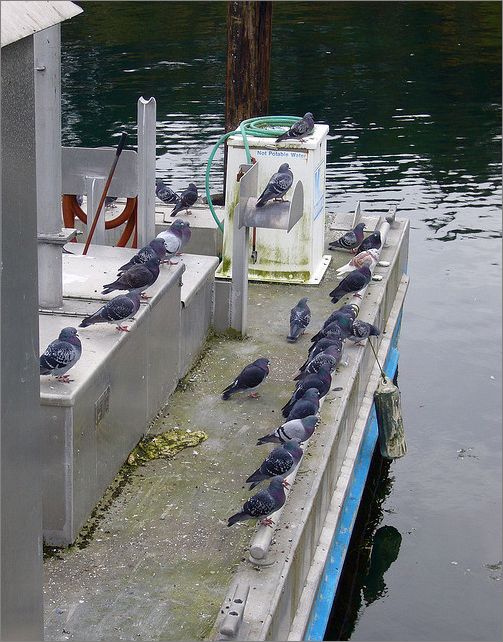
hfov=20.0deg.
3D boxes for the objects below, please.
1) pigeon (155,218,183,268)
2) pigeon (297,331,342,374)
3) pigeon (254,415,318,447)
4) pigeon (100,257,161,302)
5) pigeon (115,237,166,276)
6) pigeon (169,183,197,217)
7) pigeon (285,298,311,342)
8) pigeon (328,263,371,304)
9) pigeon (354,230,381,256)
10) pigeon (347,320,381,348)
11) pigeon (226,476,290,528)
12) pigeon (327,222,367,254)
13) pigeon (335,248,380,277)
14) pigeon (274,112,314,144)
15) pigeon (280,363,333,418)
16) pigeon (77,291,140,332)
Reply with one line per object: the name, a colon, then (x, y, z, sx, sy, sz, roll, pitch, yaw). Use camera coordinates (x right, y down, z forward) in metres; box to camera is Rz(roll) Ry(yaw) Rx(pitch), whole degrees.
pigeon: (-0.773, -0.734, 12.857, 0.327, 0.413, 0.257, -2, 20, -19)
pigeon: (0.657, 0.262, 12.814, 0.407, 0.345, 0.551, -5, 21, -12)
pigeon: (0.212, 0.846, 11.284, 0.575, 0.315, 0.202, -1, 30, -9)
pigeon: (-0.975, -0.384, 11.640, 0.607, 0.348, 0.204, -13, 32, -34)
pigeon: (-0.893, -0.594, 12.273, 0.583, 0.320, 0.370, -10, 25, -41)
pigeon: (-0.796, -1.406, 16.400, 0.301, 0.425, 0.511, 0, 13, -3)
pigeon: (0.480, -0.044, 14.081, 0.210, 0.335, 0.555, 5, -10, 2)
pigeon: (0.926, -0.422, 14.463, 0.487, 0.251, 0.581, -8, -22, 7)
pigeon: (1.318, -0.884, 16.075, 0.331, 0.329, 0.202, 1, 44, -1)
pigeon: (1.054, 0.103, 13.600, 0.283, 0.321, 0.423, 2, 13, 6)
pigeon: (0.052, 1.309, 10.373, 0.512, 0.337, 0.243, -5, 13, 8)
pigeon: (1.081, -0.973, 16.585, 0.441, 0.345, 0.248, 4, 17, 11)
pigeon: (1.151, -0.716, 14.997, 0.448, 0.231, 0.302, -28, -2, -45)
pigeon: (0.478, -2.119, 15.410, 0.359, 0.322, 0.457, 5, 14, 17)
pigeon: (0.490, 0.548, 12.013, 0.374, 0.487, 0.226, -13, 43, -18)
pigeon: (-1.091, -0.067, 11.082, 0.555, 0.279, 0.377, -6, 15, -25)
